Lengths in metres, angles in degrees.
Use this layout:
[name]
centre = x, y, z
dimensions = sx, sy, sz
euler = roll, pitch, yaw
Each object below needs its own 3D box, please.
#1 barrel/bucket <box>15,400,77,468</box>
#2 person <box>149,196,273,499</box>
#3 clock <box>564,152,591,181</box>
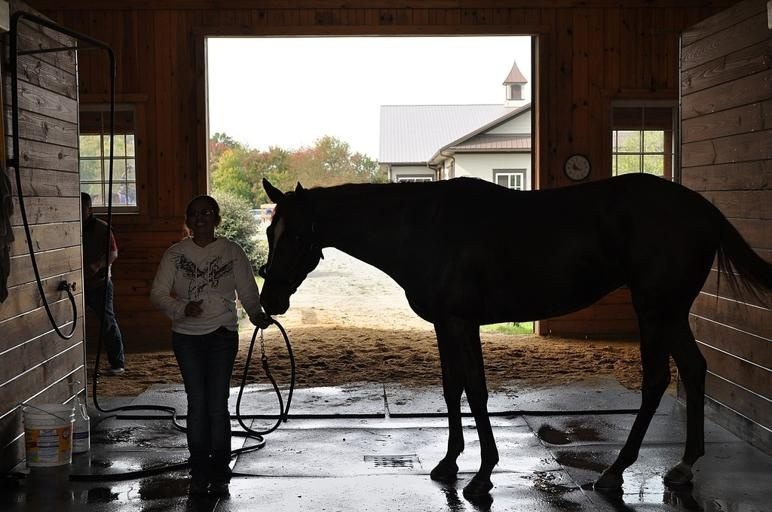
[barrel/bucket]
centre = -2.418, 1.313, 5.324
dimensions = 0.377, 0.431, 0.422
euler = 1, -5, -5
[person]
centre = -1.232, 0.578, 5.079
dimensions = 0.619, 1.983, 0.628
euler = -7, 9, -43
[clock]
centre = 2.582, -1.169, 9.667
dimensions = 0.354, 0.350, 0.082
euler = -3, 7, -16
